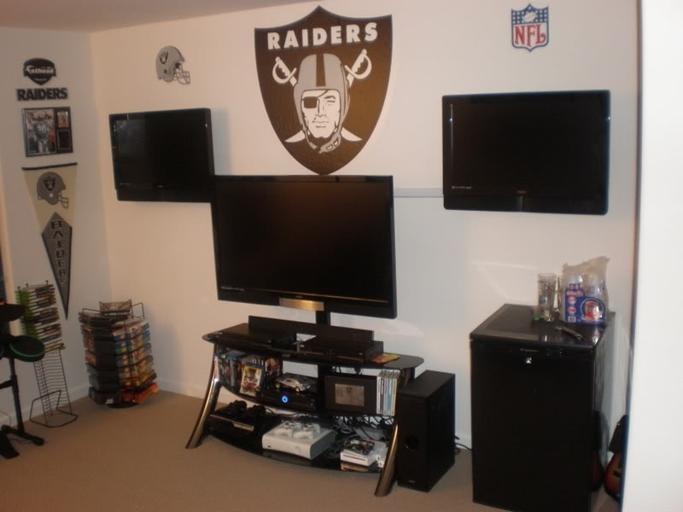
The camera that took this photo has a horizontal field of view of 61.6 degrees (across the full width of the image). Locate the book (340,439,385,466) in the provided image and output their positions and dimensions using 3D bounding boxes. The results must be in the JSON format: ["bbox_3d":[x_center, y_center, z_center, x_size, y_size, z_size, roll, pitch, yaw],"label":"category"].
[{"bbox_3d":[0.108,1.073,3.133,0.122,0.054,0.136,5,10,25],"label":"book"}]

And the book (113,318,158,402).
[{"bbox_3d":[-1.472,0.746,4.135,0.151,0.567,0.324,2,11,21],"label":"book"}]

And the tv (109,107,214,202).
[{"bbox_3d":[-1.234,-0.671,3.905,0.868,0.591,0.110,4,11,28],"label":"tv"}]

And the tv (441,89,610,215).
[{"bbox_3d":[0.890,-0.513,2.864,0.811,0.590,0.055,5,12,32],"label":"tv"}]

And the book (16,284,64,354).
[{"bbox_3d":[-2.026,0.414,3.900,0.138,0.465,0.321,4,12,29],"label":"book"}]

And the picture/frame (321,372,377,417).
[{"bbox_3d":[0.050,0.744,3.186,0.249,0.177,0.147,2,9,3],"label":"picture/frame"}]

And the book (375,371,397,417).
[{"bbox_3d":[0.241,0.729,3.046,0.056,0.222,0.146,0,2,-8],"label":"book"}]
